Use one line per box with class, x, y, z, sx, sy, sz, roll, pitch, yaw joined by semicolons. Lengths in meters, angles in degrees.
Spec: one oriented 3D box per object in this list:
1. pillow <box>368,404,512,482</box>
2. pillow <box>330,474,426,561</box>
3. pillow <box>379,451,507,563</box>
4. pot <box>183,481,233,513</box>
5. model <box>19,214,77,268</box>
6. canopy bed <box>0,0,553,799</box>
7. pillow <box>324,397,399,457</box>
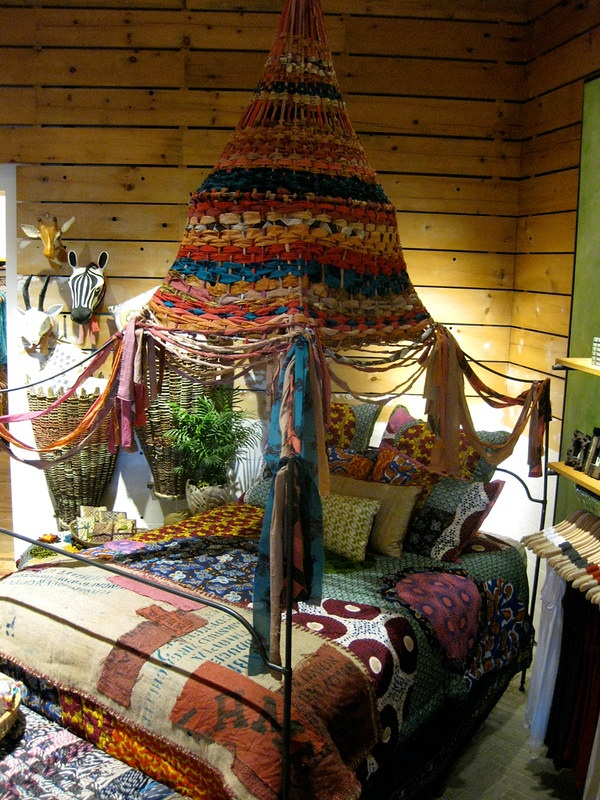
pillow;0.697;0.157;3.088;0.667;0.189;0.546;-3;35;22
pillow;0.314;0.465;2.632;0.426;0.272;0.121;3;-15;34
pillow;0.551;0.422;2.603;0.343;0.326;0.101;10;-26;48
pot;-0.481;0.492;3.444;0.193;0.142;0.190;0;-3;0
model;-1.333;-0.856;3.506;0.270;0.206;0.298;-2;-34;-5
canopy bed;0.080;-0.066;1.855;0.780;2.027;1.120;9;12;42
pillow;0.280;0.136;3.295;0.286;0.247;0.081;2;-22;21
